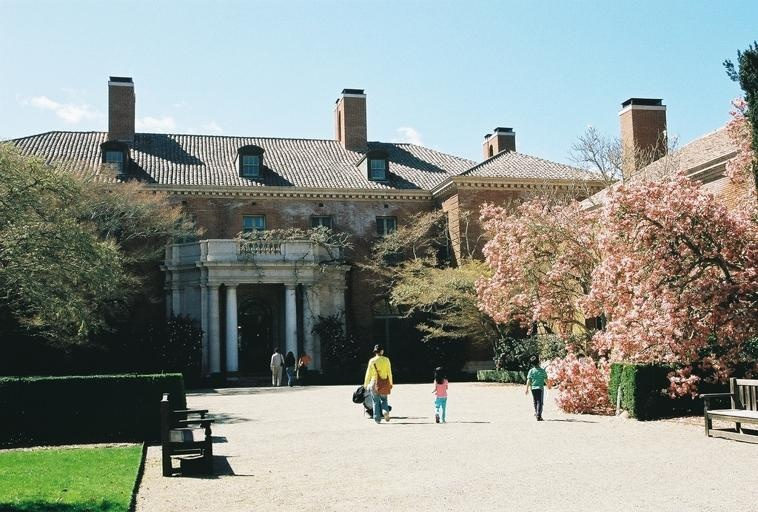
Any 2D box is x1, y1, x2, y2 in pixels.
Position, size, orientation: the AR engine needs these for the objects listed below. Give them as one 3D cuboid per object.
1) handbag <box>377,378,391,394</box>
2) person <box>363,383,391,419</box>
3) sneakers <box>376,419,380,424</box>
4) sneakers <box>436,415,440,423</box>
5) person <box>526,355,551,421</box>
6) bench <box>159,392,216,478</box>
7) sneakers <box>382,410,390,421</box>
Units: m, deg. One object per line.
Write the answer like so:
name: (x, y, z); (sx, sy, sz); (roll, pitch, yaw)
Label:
handbag: (0.108, 3.690, 25.939); (0.414, 0.430, 0.171); (1, -14, -8)
person: (-0.034, 4.238, 26.440); (0.312, 1.097, 0.533); (2, 3, -25)
sneakers: (-0.032, 4.604, 25.565); (0.144, 0.111, 0.252); (-1, -5, 0)
sneakers: (1.609, 4.515, 25.471); (0.124, 0.174, 0.280); (-1, -5, 3)
person: (4.552, 3.957, 26.532); (0.582, 1.446, 1.805); (-2, -5, 10)
bench: (-4.331, 4.014, 20.883); (1.106, 1.730, 1.787); (0, -5, -12)
sneakers: (0.198, 4.514, 25.768); (0.118, 0.349, 0.153); (-9, 10, 0)
